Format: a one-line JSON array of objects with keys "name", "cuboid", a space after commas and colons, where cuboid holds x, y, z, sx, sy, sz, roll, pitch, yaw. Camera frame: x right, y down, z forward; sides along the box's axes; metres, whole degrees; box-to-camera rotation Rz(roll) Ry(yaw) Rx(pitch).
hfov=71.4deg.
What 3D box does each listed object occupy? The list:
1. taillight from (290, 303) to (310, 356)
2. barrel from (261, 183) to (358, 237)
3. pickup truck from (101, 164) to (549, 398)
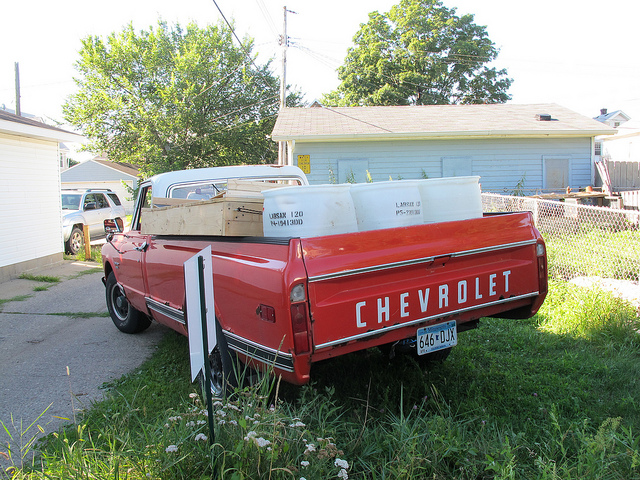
[{"name": "taillight", "cuboid": [-0.145, 0.646, 3.245, 0.115, 0.362, 0.066, -4, 9, -7]}, {"name": "barrel", "cuboid": [-0.088, -0.268, 3.859, 0.807, 0.421, 0.326, -5, 9, -11]}, {"name": "pickup truck", "cuboid": [-0.726, 0.256, 5.034, 2.314, 1.712, 4.702, -5, 12, -41]}]
